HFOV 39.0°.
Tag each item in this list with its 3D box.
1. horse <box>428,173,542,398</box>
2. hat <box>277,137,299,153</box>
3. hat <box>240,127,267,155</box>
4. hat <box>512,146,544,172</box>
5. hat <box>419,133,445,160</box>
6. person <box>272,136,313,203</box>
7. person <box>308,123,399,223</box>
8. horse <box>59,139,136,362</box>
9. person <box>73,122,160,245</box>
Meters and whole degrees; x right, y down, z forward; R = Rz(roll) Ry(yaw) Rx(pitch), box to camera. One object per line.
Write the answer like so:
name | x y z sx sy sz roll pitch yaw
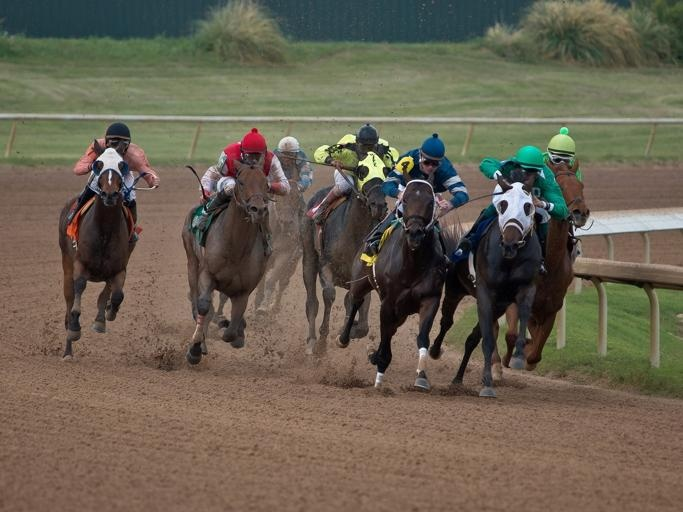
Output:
horse | 1.680 0.279 10.862 0.785 2.561 1.816 -2 12 -17
hat | -0.775 -1.604 13.966 0.339 0.242 0.344 1 12 2
hat | -1.005 -1.304 10.914 0.247 0.236 0.345 -1 14 -8
hat | 2.042 -1.088 10.655 0.226 0.165 0.311 9 3 -14
hat | 1.007 -1.213 10.650 0.245 0.269 0.235 2 12 -1
person | -0.775 -1.365 13.935 0.595 0.844 0.343 10 -34 -17
person | 0.126 -0.994 11.964 0.880 1.258 1.421 9 14 -5
horse | -2.890 -0.092 11.471 0.847 2.556 1.418 -1 12 -15
person | -2.719 -0.873 11.807 0.979 1.498 1.707 3 -3 -8
